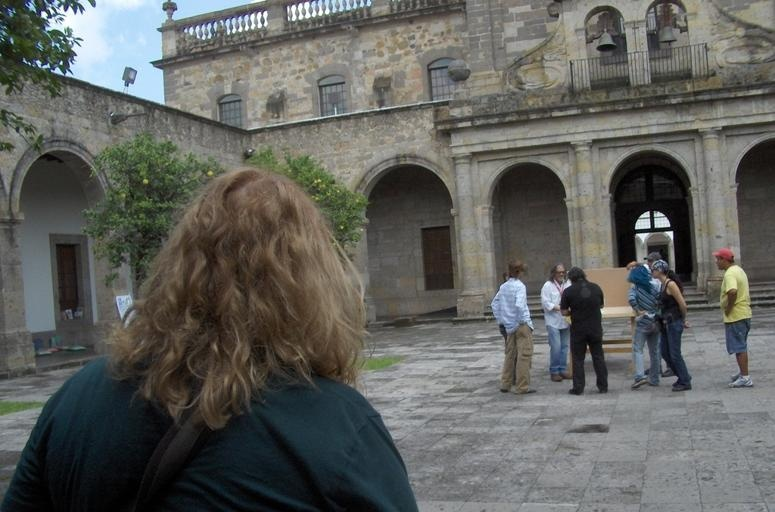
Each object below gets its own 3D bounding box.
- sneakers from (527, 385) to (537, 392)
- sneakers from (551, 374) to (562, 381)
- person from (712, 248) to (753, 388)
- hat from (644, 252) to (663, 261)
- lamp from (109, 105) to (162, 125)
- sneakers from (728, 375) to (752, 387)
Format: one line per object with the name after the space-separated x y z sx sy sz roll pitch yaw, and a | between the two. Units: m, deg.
2.085 1.901 9.726 0.165 0.112 0.054 -10 12 -43 | sneakers
2.600 1.851 10.369 0.076 0.062 0.143 -1 -7 -4 | sneakers
4.889 0.782 9.514 0.415 1.822 1.426 -2 2 27 | person
3.841 -0.025 9.727 0.187 0.132 0.232 -6 -11 14 | hat
-6.786 -3.677 17.557 0.841 0.287 0.533 3 4 21 | lamp
4.750 1.642 8.999 0.358 0.157 0.143 -1 2 7 | sneakers
